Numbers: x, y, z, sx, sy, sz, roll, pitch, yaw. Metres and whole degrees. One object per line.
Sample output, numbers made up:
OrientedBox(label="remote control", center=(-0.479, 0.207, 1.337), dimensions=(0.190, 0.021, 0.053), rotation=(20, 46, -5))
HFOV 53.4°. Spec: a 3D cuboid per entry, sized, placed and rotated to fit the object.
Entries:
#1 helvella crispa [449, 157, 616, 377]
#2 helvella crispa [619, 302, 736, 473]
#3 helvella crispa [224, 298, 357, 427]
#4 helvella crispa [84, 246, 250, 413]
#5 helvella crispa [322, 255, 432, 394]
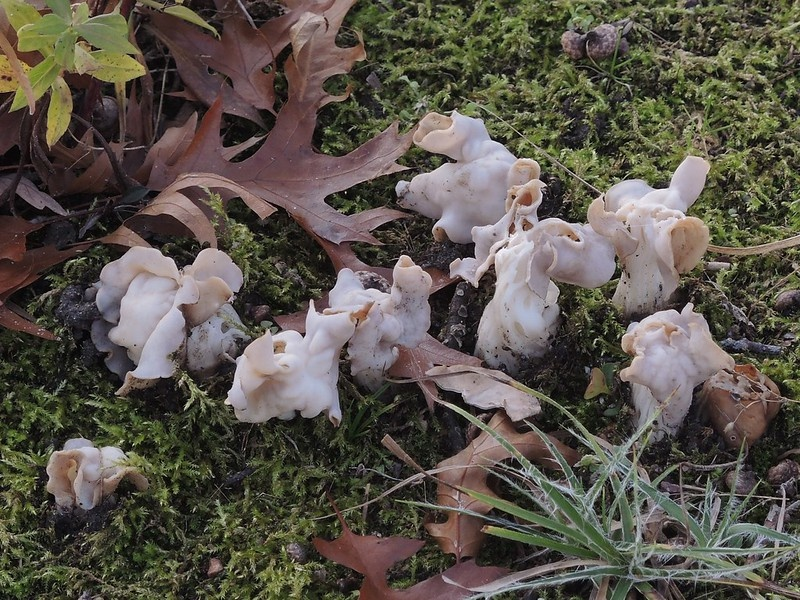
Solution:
OrientedBox(label="helvella crispa", center=(0.544, -0.064, 3.087), dimensions=(0.528, 0.756, 0.585), rotation=(-2, 10, -31))
OrientedBox(label="helvella crispa", center=(0.945, 0.262, 2.904), dimensions=(0.325, 0.550, 0.470), rotation=(-37, 43, -26))
OrientedBox(label="helvella crispa", center=(-0.349, 0.264, 2.847), dimensions=(0.462, 0.451, 0.430), rotation=(-4, 62, 19))
OrientedBox(label="helvella crispa", center=(-0.866, 0.110, 3.109), dimensions=(0.554, 0.273, 0.559), rotation=(18, 69, 22))
OrientedBox(label="helvella crispa", center=(-0.028, 0.046, 2.962), dimensions=(0.341, 0.471, 0.471), rotation=(3, 41, 0))
